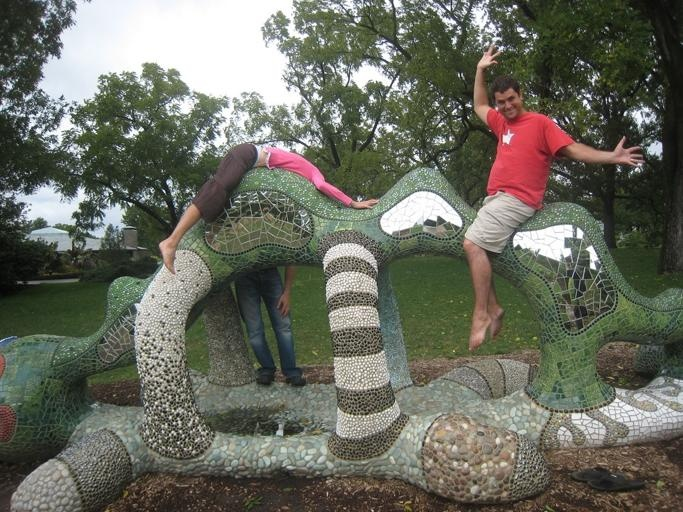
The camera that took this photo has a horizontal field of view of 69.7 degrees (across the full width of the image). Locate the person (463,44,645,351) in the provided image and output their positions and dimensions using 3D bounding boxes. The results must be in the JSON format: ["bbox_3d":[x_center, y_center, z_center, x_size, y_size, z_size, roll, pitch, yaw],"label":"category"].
[{"bbox_3d":[1.738,-0.552,4.642,1.142,2.721,0.785,-1,7,15],"label":"person"}]

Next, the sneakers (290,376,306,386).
[{"bbox_3d":[-0.533,1.509,5.946,0.189,0.077,0.097,-6,-6,39],"label":"sneakers"}]

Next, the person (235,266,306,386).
[{"bbox_3d":[-0.854,0.853,5.912,0.752,1.441,0.455,-4,6,-13],"label":"person"}]

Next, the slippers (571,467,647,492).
[{"bbox_3d":[2.168,1.822,4.024,0.520,0.068,0.296,-4,7,-13],"label":"slippers"}]
